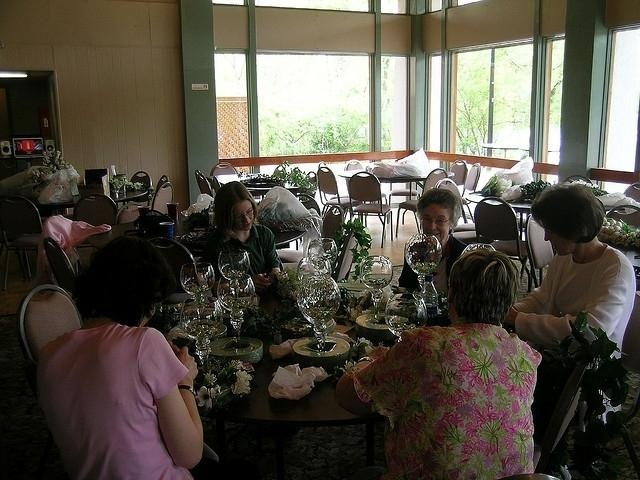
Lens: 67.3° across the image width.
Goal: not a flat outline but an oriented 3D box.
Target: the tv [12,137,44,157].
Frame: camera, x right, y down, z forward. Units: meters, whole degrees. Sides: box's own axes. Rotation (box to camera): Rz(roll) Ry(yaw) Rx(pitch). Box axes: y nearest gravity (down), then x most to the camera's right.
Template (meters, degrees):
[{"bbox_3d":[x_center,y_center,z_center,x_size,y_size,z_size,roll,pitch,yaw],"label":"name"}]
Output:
[{"bbox_3d":[-4.959,-1.540,8.064,0.435,0.338,0.060,-3,4,-22],"label":"tv"}]

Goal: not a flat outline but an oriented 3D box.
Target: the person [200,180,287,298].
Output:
[{"bbox_3d":[-0.506,0.069,3.226,0.505,0.818,0.454,-13,29,-27],"label":"person"}]
